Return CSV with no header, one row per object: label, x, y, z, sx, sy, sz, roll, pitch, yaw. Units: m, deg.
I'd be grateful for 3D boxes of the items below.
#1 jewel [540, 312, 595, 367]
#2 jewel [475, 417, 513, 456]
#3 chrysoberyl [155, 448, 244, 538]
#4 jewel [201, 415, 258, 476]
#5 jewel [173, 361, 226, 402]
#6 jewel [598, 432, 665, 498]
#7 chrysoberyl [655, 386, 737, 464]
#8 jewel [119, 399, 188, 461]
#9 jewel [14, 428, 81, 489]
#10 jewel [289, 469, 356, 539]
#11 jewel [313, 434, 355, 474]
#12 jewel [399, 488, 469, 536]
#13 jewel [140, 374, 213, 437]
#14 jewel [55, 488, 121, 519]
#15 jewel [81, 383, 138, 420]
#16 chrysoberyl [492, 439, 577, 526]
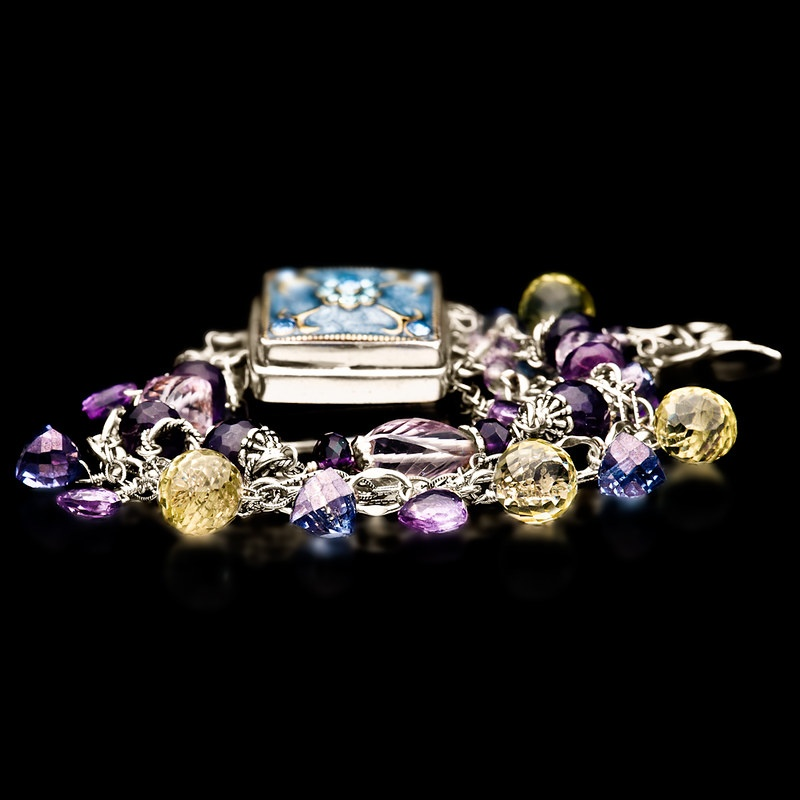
jewel,0.516,-0.210,3.106,0.162,0.102,0.176,-10,28,40
jewel,0.232,0.095,2.593,0.103,0.056,0.084,2,40,-14
chrysoberyl,-0.461,0.214,2.321,0.174,0.159,0.147,11,38,9
jewel,-0.419,0.097,2.484,0.144,0.110,0.147,4,-2,-8
jewel,-0.549,-0.071,2.798,0.137,0.107,0.119,-2,28,-3
jewel,0.558,0.155,2.507,0.155,0.107,0.149,-7,47,-5
chrysoberyl,0.756,0.069,2.615,0.220,0.110,0.184,-3,55,-2
jewel,-0.641,0.063,2.587,0.157,0.095,0.147,-2,48,-12
jewel,-0.874,0.140,2.551,0.191,0.159,0.177,-4,13,-21
jewel,-0.166,0.245,2.360,0.155,0.140,0.111,15,40,-59
jewel,-0.162,0.128,2.451,0.101,0.093,0.094,-5,-2,-4
jewel,0.075,0.255,2.316,0.142,0.066,0.099,-5,-5,15
jewel,-0.575,0.007,2.790,0.156,0.157,0.187,-5,-7,14
jewel,-0.744,0.236,2.372,0.112,0.033,0.084,6,0,-11
jewel,-0.813,0.005,2.834,0.169,0.061,0.090,-17,-7,9
chrysoberyl,0.320,0.190,2.402,0.208,0.186,0.191,7,34,27
